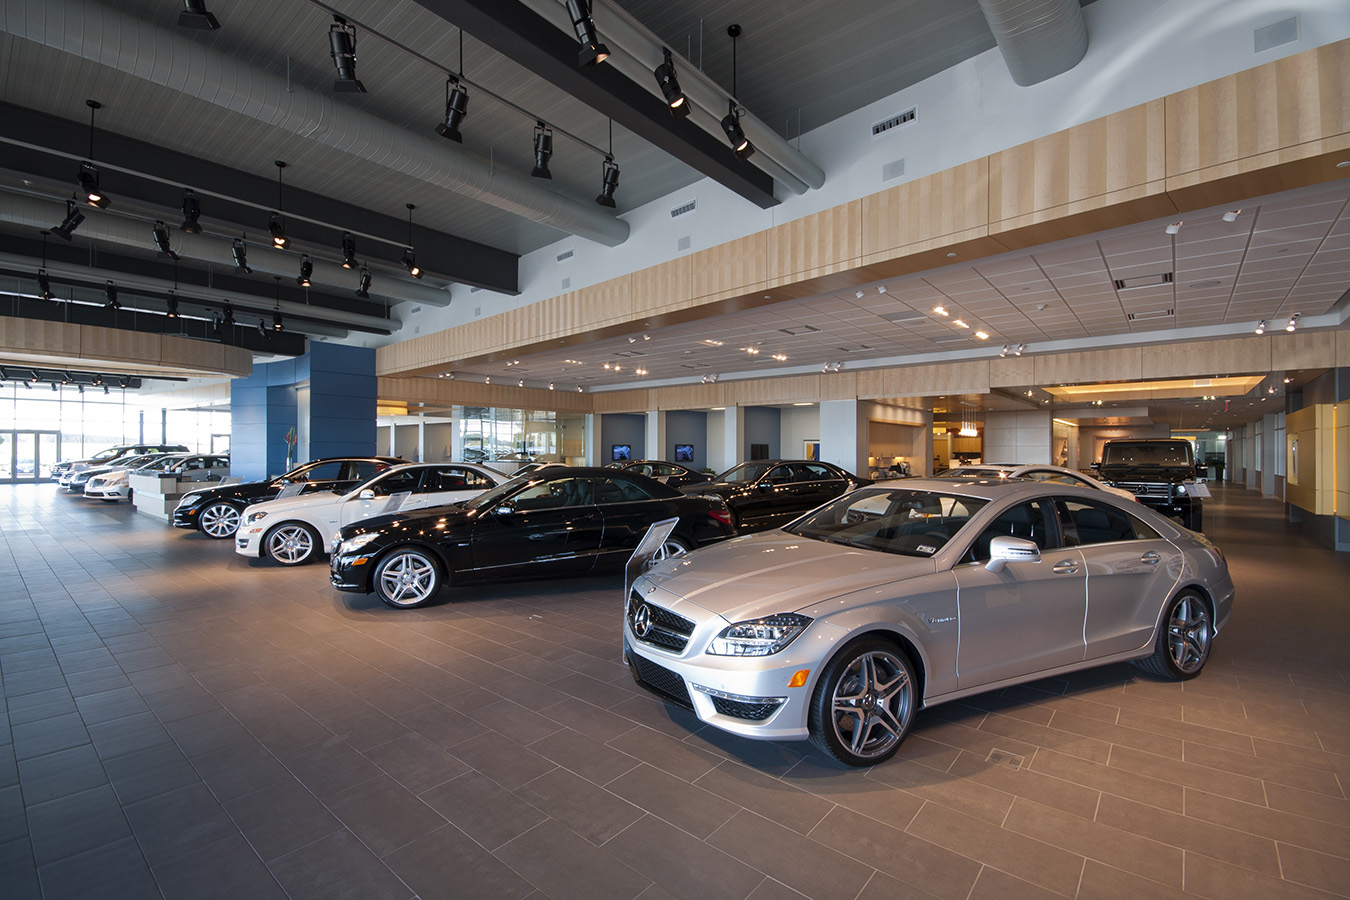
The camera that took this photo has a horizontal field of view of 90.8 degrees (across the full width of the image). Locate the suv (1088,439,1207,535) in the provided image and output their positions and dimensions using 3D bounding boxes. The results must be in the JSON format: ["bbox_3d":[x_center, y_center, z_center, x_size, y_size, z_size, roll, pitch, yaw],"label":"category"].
[{"bbox_3d":[9.737,0.568,13.222,1.653,1.048,2.826,-2,-5,42],"label":"suv"}]

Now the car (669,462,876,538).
[{"bbox_3d":[1.806,0.800,11.834,3.371,0.793,1.243,2,-4,-26],"label":"car"}]

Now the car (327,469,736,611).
[{"bbox_3d":[-1.552,0.999,8.365,5.014,1.064,1.783,1,-5,-22],"label":"car"}]

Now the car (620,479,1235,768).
[{"bbox_3d":[1.984,1.265,5.595,5.122,1.162,2.084,0,-1,-20],"label":"car"}]

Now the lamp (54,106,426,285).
[{"bbox_3d":[-5.882,-3.407,10.449,1.150,1.113,5.756,-18,-22,36],"label":"lamp"}]

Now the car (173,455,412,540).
[{"bbox_3d":[-6.470,0.792,11.992,4.921,1.088,1.765,-1,-1,-17],"label":"car"}]
